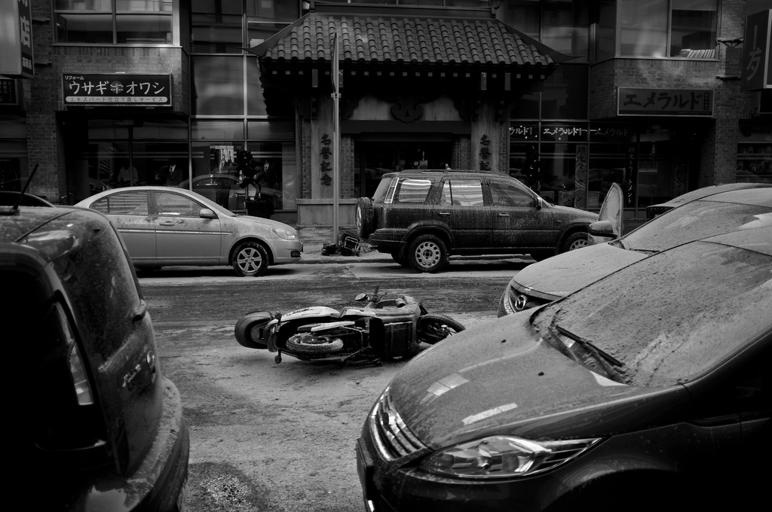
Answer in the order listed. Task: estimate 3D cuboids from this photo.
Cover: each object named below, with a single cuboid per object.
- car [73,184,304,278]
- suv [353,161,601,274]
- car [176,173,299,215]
[{"bbox_3d":[-3.735,-0.566,14.325,3.951,1.592,1.764,-2,5,-11],"label":"car"},{"bbox_3d":[1.912,-0.858,15.725,4.685,2.030,2.280,-3,5,-9],"label":"suv"},{"bbox_3d":[-4.985,-2.133,23.974,3.547,1.448,1.357,1,5,-13],"label":"car"}]
